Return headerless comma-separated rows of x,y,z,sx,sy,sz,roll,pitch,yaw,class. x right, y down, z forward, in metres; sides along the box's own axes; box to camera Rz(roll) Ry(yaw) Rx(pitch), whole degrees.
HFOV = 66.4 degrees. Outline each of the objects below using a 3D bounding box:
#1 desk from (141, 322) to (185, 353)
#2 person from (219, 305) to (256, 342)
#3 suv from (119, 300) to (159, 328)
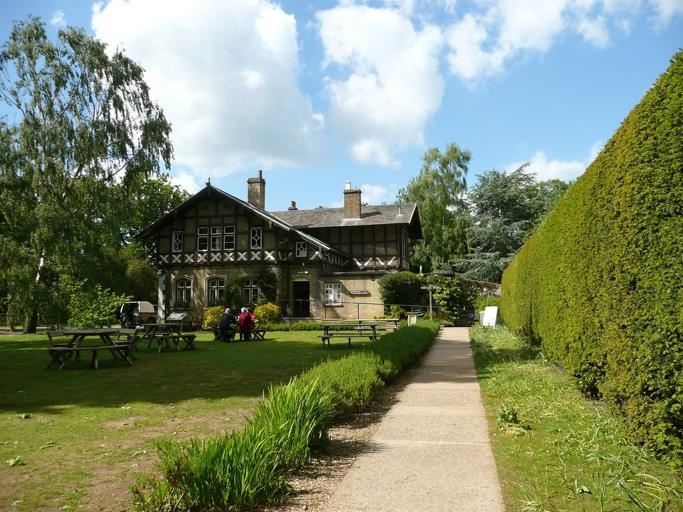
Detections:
-6.445,2.971,18.826,1.092,0.562,1.099,-4,-11,19,desk
-4.471,2.870,21.663,1.500,1.218,1.662,-1,-1,-26,person
-13.213,3.588,34.081,2.069,1.526,2.772,-1,-1,-20,suv
